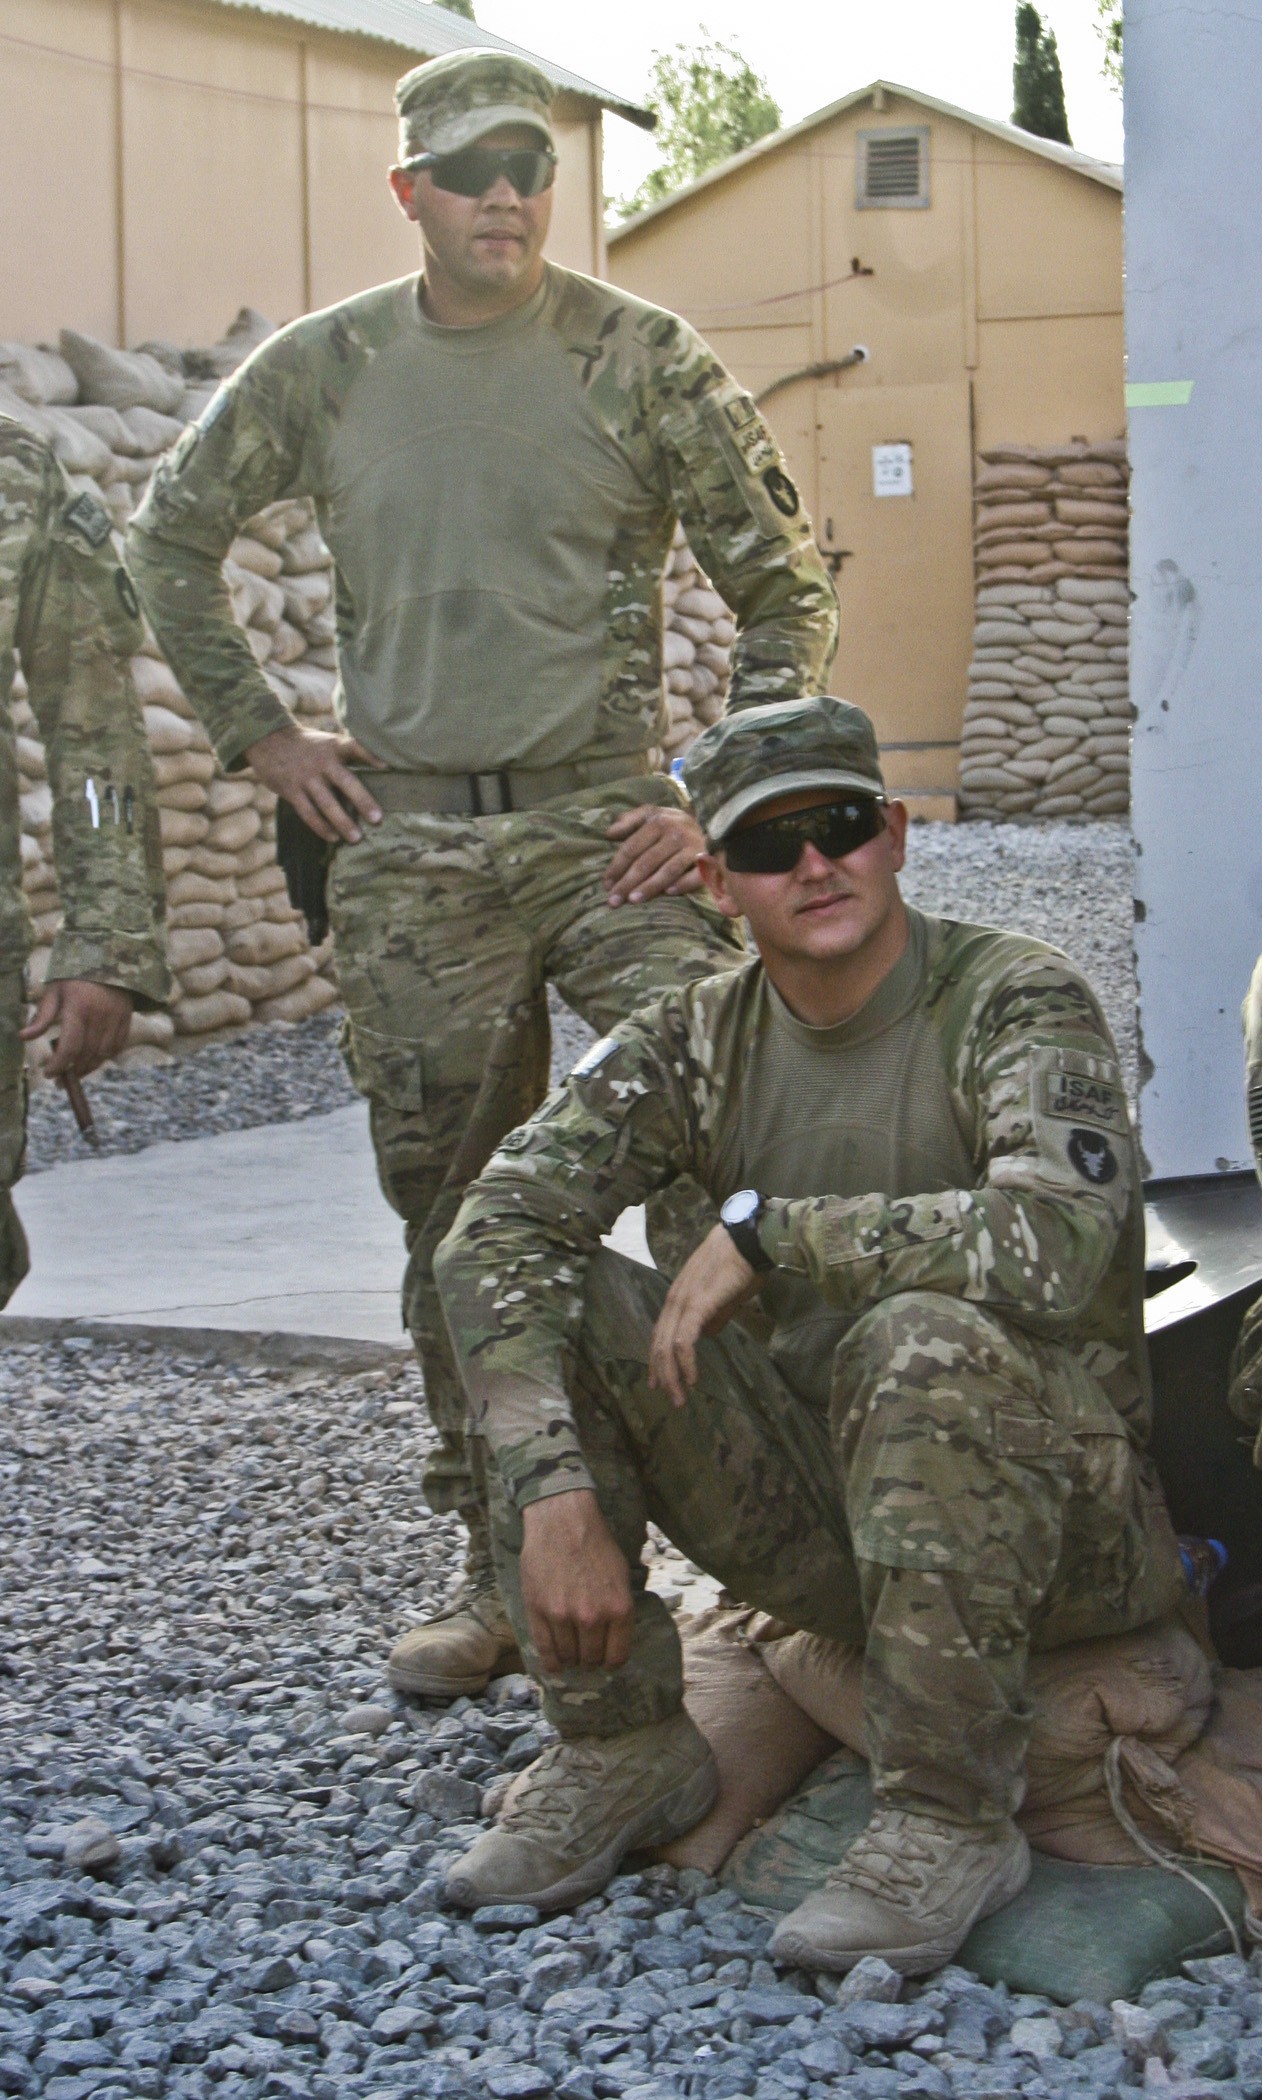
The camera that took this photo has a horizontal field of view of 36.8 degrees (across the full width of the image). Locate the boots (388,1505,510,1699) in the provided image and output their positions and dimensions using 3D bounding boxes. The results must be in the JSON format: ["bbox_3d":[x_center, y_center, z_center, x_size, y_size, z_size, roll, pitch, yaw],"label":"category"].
[{"bbox_3d":[-0.212,0.741,2.530,0.105,0.229,0.259,-8,-11,33],"label":"boots"}]

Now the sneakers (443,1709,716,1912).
[{"bbox_3d":[-0.056,0.731,1.890,0.103,0.126,0.311,-1,10,45],"label":"sneakers"}]

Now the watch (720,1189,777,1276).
[{"bbox_3d":[0.109,0.175,1.831,0.063,0.071,0.043,-4,-1,28],"label":"watch"}]

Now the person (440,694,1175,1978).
[{"bbox_3d":[0.148,0.222,1.872,0.635,1.077,0.593,-4,-2,36],"label":"person"}]

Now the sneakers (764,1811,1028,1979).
[{"bbox_3d":[0.234,0.716,1.628,0.107,0.122,0.275,-5,-2,41],"label":"sneakers"}]

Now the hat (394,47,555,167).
[{"bbox_3d":[-0.226,-1.285,2.603,0.172,0.114,0.215,-4,2,-15],"label":"hat"}]
